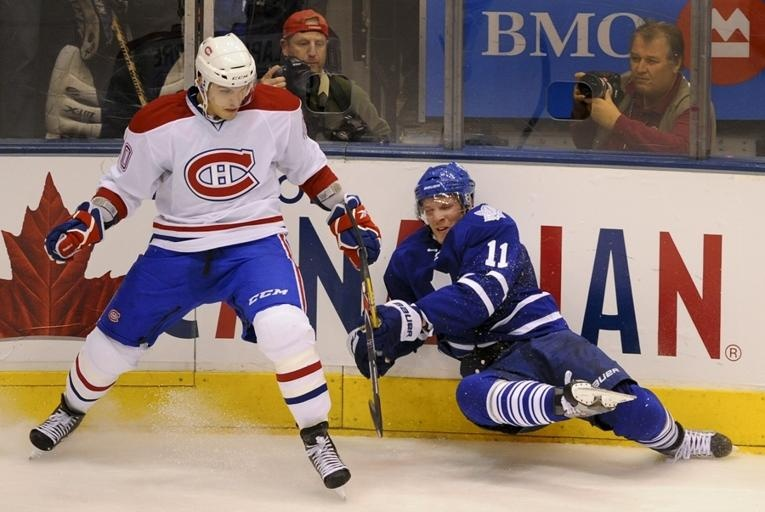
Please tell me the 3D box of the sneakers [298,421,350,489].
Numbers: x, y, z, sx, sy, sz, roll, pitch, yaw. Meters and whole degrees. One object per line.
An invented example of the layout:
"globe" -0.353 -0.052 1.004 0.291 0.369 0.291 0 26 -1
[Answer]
"sneakers" -0.305 0.964 5.174 0.150 0.169 0.434 -28 27 2

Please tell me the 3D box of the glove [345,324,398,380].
"glove" -0.048 0.476 5.453 0.248 0.298 0.118 2 -2 4

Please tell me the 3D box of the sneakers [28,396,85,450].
"sneakers" -1.683 0.880 5.549 0.202 0.139 0.448 -49 6 -1

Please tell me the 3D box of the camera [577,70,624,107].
"camera" 1.195 -0.939 5.795 0.227 0.130 0.158 4 20 20

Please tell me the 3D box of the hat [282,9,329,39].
"hat" -0.431 -1.288 5.833 0.211 0.139 0.327 3 13 -4

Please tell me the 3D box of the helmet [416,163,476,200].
"helmet" 0.322 -0.394 5.628 0.218 0.216 0.227 -6 -19 9

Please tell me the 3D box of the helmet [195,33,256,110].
"helmet" -0.808 -0.953 5.291 0.298 0.362 0.365 -12 51 -24

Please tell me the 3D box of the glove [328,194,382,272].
"glove" -0.120 -0.112 5.428 0.250 0.387 0.144 -33 9 -18

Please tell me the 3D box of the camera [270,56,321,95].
"camera" -0.467 -0.989 5.880 0.256 0.193 0.238 -17 -18 -8

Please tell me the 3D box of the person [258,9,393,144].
"person" -0.390 -0.897 5.905 0.713 0.906 0.483 -4 -1 -9

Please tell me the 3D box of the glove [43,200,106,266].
"glove" -1.541 -0.111 5.306 0.344 0.208 0.137 -45 9 -31
